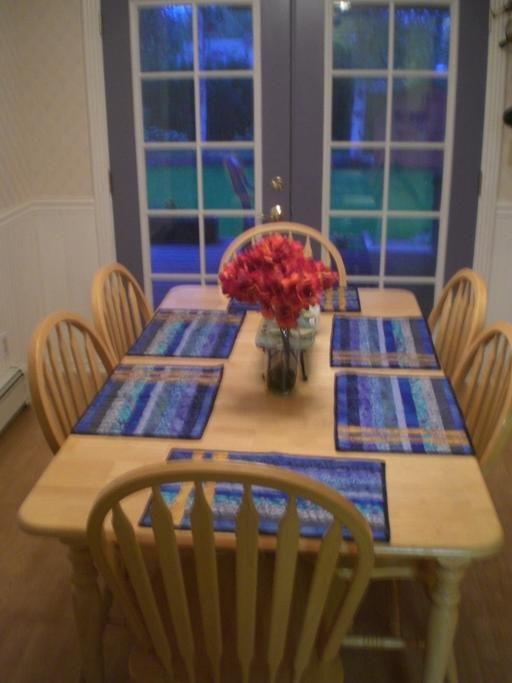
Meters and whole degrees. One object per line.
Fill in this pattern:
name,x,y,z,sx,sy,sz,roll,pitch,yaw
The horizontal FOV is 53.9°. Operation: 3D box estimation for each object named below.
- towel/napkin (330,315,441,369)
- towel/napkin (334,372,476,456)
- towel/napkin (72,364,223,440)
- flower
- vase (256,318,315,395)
towel/napkin,0.372,-0.004,1.498,0.166,0.025,0.231,4,37,8
towel/napkin,0.304,0.155,1.068,0.273,0.027,0.349,2,15,11
towel/napkin,-0.237,0.126,1.175,0.293,0.038,0.385,0,14,5
flower,0.059,-0.160,1.106,0.199,0.293,0.221,6,37,15
vase,0.073,0.038,1.257,0.123,0.211,0.166,1,44,2
